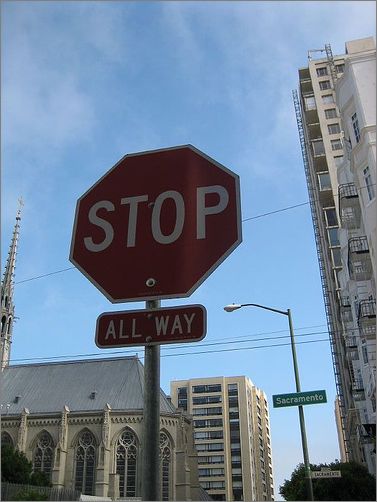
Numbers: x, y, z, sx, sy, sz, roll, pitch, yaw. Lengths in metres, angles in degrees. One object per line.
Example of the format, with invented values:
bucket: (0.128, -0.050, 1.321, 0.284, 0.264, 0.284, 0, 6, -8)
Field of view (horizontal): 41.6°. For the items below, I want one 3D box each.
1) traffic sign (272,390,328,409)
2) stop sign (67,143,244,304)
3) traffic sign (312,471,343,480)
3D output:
traffic sign: (3.176, 4.270, 14.396, 1.459, 0.444, 1.109, -3, -27, 7)
stop sign: (-0.170, -0.124, 2.834, 0.947, 0.845, 0.067, -8, -35, 14)
traffic sign: (4.725, 7.876, 17.549, 0.846, 0.245, 1.776, -1, -27, 3)
